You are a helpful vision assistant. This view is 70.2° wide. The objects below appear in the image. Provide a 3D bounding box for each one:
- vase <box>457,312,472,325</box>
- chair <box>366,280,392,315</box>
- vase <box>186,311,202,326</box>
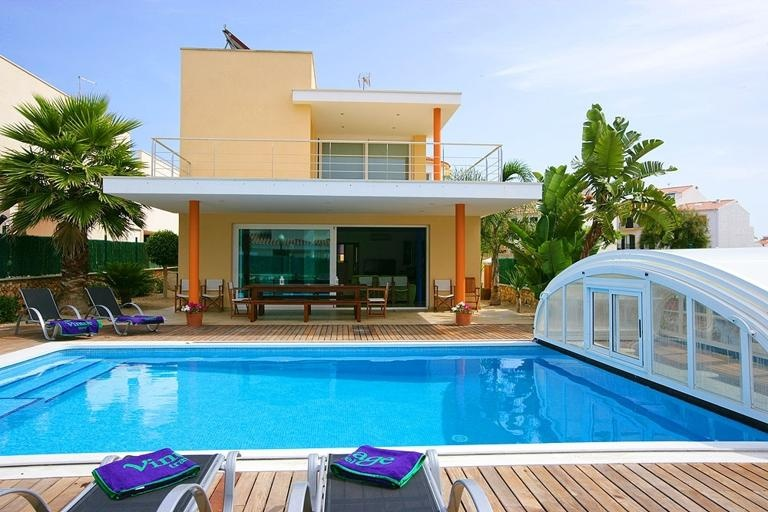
[{"bbox_3d":[2.158,1.714,14.964,0.357,0.255,0.353,1,-8,-6],"label":"vase"},{"bbox_3d":[-0.229,1.334,16.604,0.798,0.957,0.867,1,-2,-17],"label":"chair"},{"bbox_3d":[-5.091,1.706,14.674,0.379,0.274,0.375,1,-6,-10],"label":"vase"}]
